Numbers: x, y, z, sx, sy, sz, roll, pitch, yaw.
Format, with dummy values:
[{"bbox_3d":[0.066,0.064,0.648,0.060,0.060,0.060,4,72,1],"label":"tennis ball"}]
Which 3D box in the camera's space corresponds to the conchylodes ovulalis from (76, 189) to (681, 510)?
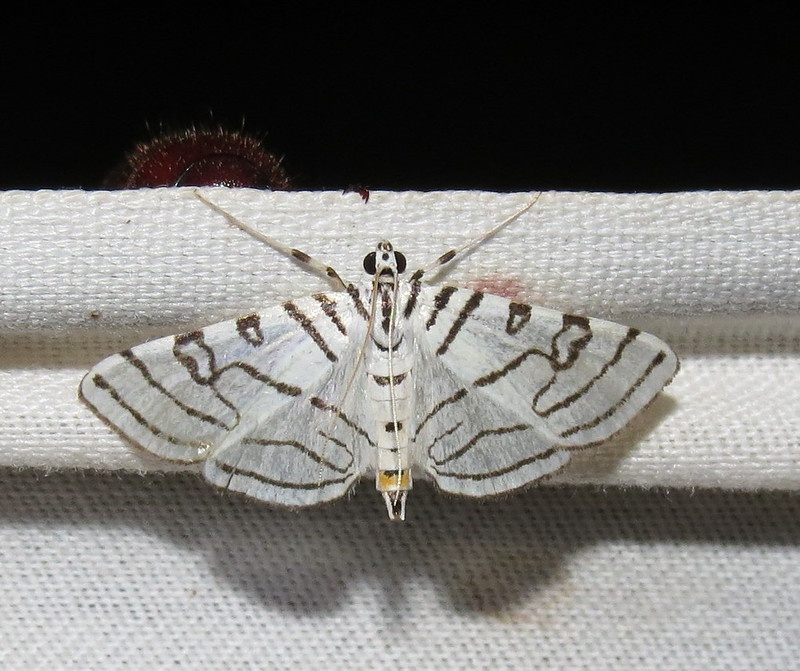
[{"bbox_3d":[-0.038,0.056,1.383,0.631,0.297,0.070,1,-9,0],"label":"conchylodes ovulalis"}]
